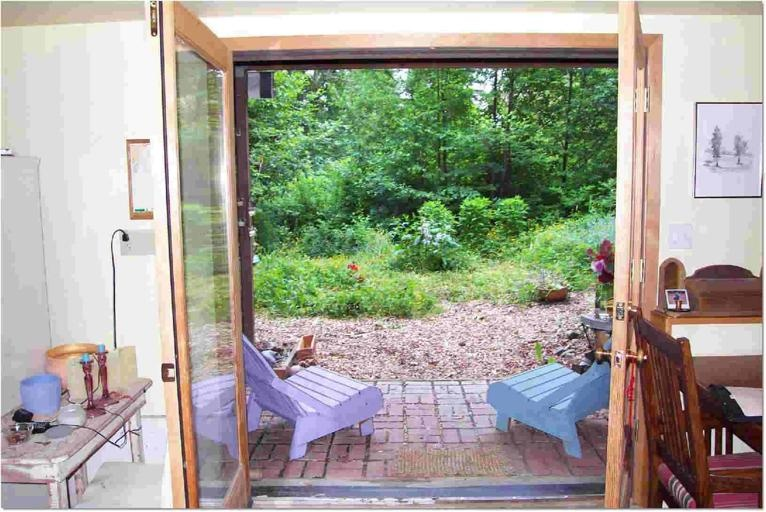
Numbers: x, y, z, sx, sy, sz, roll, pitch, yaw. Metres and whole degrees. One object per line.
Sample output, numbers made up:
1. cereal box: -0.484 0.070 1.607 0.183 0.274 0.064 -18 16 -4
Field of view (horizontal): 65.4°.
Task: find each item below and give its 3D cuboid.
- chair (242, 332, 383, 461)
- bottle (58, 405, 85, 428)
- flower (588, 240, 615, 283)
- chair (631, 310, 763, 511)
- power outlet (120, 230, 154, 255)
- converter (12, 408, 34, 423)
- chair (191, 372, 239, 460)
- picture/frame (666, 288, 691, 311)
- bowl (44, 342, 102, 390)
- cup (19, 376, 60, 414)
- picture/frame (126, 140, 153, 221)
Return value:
1. chair: -0.461 0.916 4.559 1.145 0.787 0.772 -11 15 -37
2. bottle: -1.755 0.905 3.355 0.119 0.065 0.112 2 6 0
3. flower: 1.890 0.090 5.111 0.174 0.406 0.429 4 15 19
4. chair: 1.634 0.868 3.107 0.720 1.144 0.480 5 16 21
5. power outlet: -1.721 -0.087 4.192 0.218 0.181 0.047 -2 6 -3
6. converter: -2.044 0.914 3.409 0.101 0.066 0.073 14 -16 20
7. chair: -1.005 0.923 3.430 0.163 0.411 0.357 -4 -1 39
8. picture/frame: 1.954 0.296 3.929 0.171 0.174 0.025 0 -18 4
9. bowl: -1.992 0.680 3.766 0.307 0.162 0.274 4 6 27
10. cup: -2.022 0.805 3.547 0.229 0.169 0.252 2 4 0
11. picture/frame: -1.699 -0.529 4.156 0.169 0.552 0.138 -3 15 -7
